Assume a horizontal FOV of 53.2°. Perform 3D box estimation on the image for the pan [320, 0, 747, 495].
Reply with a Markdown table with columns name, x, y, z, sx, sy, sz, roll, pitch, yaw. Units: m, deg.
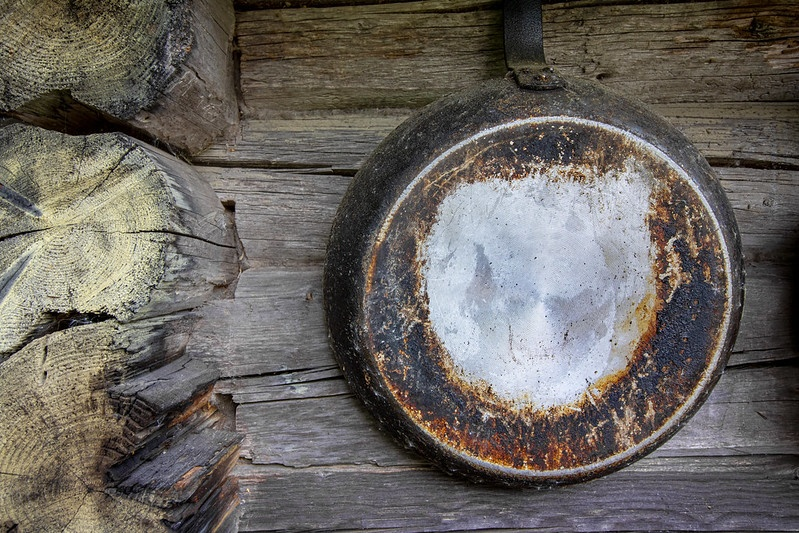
| name | x | y | z | sx | sy | sz | roll | pitch | yaw |
| --- | --- | --- | --- | --- | --- | --- | --- | --- | --- |
| pan | 0.383 | 0.039 | 2.232 | 1.157 | 0.180 | 1.167 | 33 | 87 | 6 |
